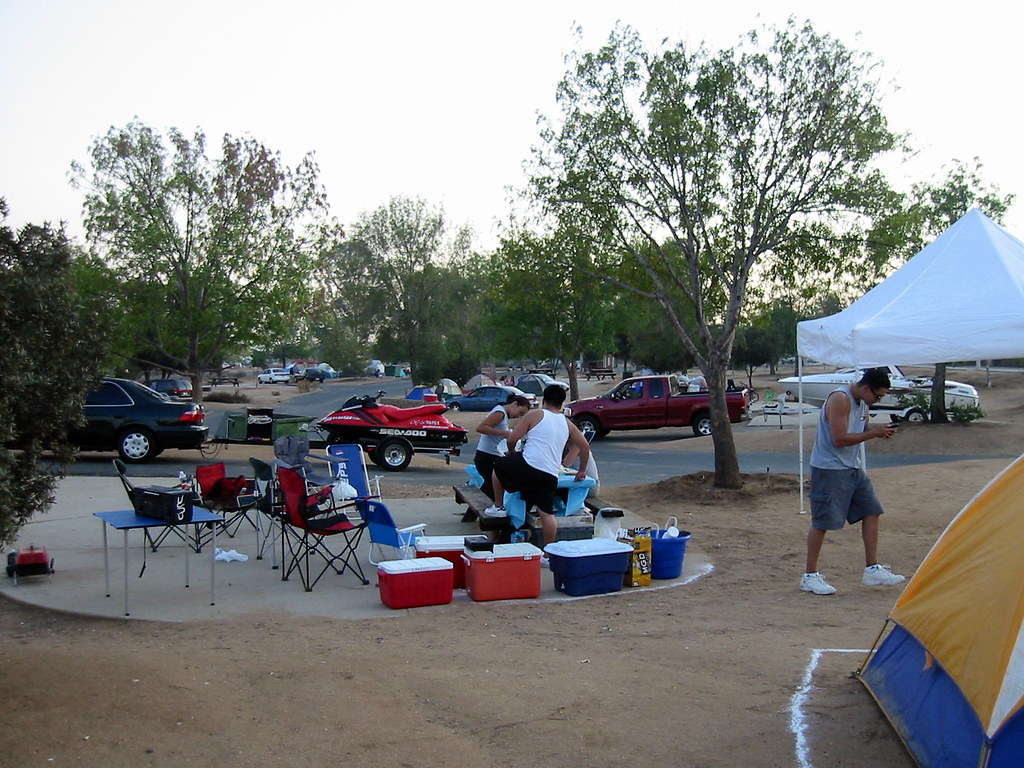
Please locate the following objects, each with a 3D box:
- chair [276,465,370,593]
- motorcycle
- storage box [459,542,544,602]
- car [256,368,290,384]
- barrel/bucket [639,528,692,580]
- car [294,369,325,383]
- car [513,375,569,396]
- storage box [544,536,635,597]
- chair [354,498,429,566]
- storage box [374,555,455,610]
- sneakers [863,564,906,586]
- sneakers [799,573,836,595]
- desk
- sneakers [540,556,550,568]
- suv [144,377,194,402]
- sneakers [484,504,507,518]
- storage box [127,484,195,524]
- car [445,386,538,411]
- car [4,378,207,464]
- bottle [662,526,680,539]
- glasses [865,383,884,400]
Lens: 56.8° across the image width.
[{"bbox_3d":[-2.317,1.641,11.061,1.251,1.918,1.238,0,1,-18],"label":"chair"},{"bbox_3d":[-2.468,1.006,19.781,3.274,1.658,1.316,3,-1,-6],"label":"motorcycle"},{"bbox_3d":[-0.064,1.968,9.807,0.674,0.471,0.486,0,-1,-15],"label":"storage box"},{"bbox_3d":[-19.226,-0.350,76.733,1.370,1.184,3.272,0,5,-26],"label":"car"},{"bbox_3d":[1.714,1.939,10.603,0.431,0.391,0.454,-1,-4,0],"label":"barrel/bucket"},{"bbox_3d":[-17.197,-0.313,79.607,1.997,1.062,1.287,4,2,22],"label":"car"},{"bbox_3d":[0.956,0.337,35.683,1.578,0.881,1.000,-6,5,12],"label":"car"},{"bbox_3d":[0.839,1.985,10.137,0.881,0.540,0.422,-1,-2,-22],"label":"storage box"},{"bbox_3d":[-1.335,1.692,10.557,0.688,0.842,0.839,2,2,41],"label":"chair"},{"bbox_3d":[-0.971,2.053,9.611,0.742,0.447,0.399,-2,-2,-12],"label":"storage box"},{"bbox_3d":[3.862,2.036,10.020,0.488,0.257,0.190,-1,0,0],"label":"sneakers"},{"bbox_3d":[3.156,2.091,9.818,0.354,0.181,0.160,0,-1,41],"label":"sneakers"},{"bbox_3d":[-3.800,1.701,10.173,1.315,1.128,1.384,2,-4,-25],"label":"desk"},{"bbox_3d":[0.365,2.102,11.052,0.077,0.107,0.238,1,-7,-12],"label":"sneakers"},{"bbox_3d":[-13.211,0.294,36.751,1.913,1.060,1.168,-1,6,-9],"label":"suv"},{"bbox_3d":[-0.215,1.520,11.131,0.107,0.117,0.244,2,-2,-41],"label":"sneakers"},{"bbox_3d":[-3.466,1.245,9.539,0.720,0.374,0.391,-5,-4,44],"label":"storage box"},{"bbox_3d":[-1.150,1.021,39.574,3.102,1.190,1.596,3,2,18],"label":"car"},{"bbox_3d":[-7.777,0.809,19.804,2.505,1.785,0.775,-2,-2,-18],"label":"car"},{"bbox_3d":[1.774,1.706,10.654,0.094,0.180,0.165,22,5,14],"label":"bottle"},{"bbox_3d":[3.610,0.105,9.460,0.140,0.159,0.044,1,-9,-26],"label":"glasses"}]
